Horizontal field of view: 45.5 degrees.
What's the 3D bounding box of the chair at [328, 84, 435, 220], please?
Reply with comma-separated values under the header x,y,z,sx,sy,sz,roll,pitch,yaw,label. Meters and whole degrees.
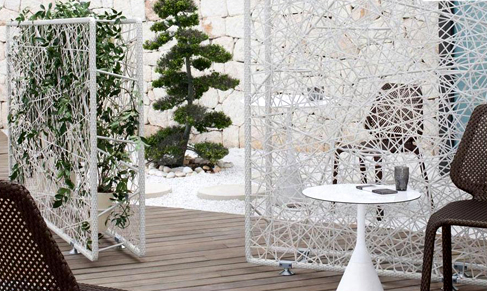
x,y,z,sx,sy,sz,roll,pitch,yaw,label
1.174,-0.150,4.809,0.655,0.929,0.685,16,0,4,chair
